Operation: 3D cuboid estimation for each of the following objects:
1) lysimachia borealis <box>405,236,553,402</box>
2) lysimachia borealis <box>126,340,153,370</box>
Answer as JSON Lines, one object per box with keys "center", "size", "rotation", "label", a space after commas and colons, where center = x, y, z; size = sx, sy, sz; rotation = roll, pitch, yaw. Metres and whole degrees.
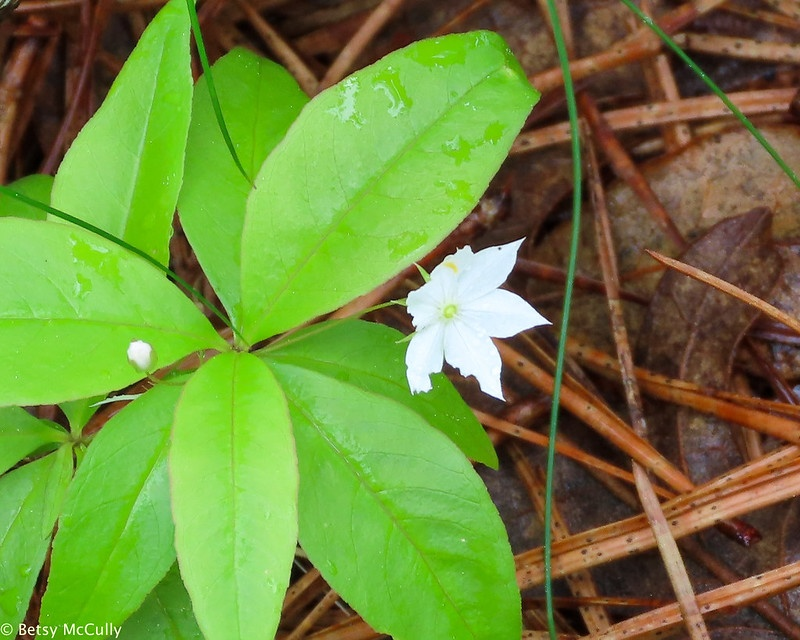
{"center": [0.084, -0.024, 1.782], "size": [0.297, 0.167, 0.374], "rotation": [-16, 14, 20], "label": "lysimachia borealis"}
{"center": [-0.539, 0.075, 1.823], "size": [0.055, 0.058, 0.057], "rotation": [-8, -20, -19], "label": "lysimachia borealis"}
